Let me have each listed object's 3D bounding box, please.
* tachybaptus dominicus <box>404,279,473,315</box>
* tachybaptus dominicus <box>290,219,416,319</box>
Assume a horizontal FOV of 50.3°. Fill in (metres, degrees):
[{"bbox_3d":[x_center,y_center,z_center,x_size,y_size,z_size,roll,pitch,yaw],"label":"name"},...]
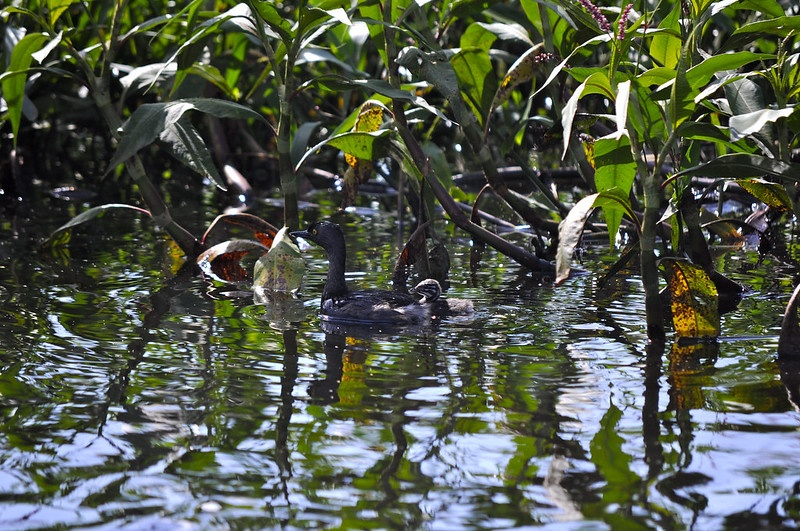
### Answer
[{"bbox_3d":[0.224,0.181,4.811,0.260,0.201,0.492,3,0,-22],"label":"tachybaptus dominicus"},{"bbox_3d":[-0.171,0.061,4.811,0.830,0.564,0.302,2,8,16],"label":"tachybaptus dominicus"}]
